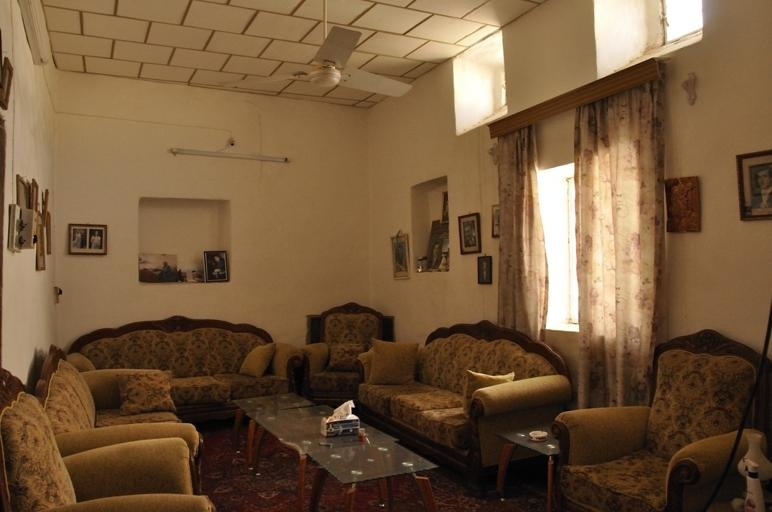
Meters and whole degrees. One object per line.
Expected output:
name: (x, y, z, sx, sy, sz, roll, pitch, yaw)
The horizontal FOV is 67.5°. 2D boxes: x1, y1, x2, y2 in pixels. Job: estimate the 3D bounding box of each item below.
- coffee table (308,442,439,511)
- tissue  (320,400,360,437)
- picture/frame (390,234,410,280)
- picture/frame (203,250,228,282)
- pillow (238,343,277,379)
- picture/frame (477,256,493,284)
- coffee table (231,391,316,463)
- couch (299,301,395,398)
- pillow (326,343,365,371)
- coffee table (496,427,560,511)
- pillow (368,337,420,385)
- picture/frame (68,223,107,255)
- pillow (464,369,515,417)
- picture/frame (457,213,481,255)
coffee table: (-0.150, 1.966, 4.895, 0.895, 0.633, 0.841, 1, -3, -28)
tissue : (-0.430, 1.517, 5.393, 0.367, 0.291, 0.193, 0, -2, -6)
picture/frame: (0.211, 0.005, 8.635, 0.093, 0.855, 0.665, 2, -4, -32)
picture/frame: (-2.508, 0.155, 8.524, 0.367, 0.475, 0.186, 0, -2, -16)
pillow: (-1.755, 1.414, 7.877, 0.431, 0.404, 0.133, -3, -34, 42)
picture/frame: (1.218, 0.167, 7.125, 0.041, 0.387, 0.339, 1, 2, -28)
coffee table: (-1.316, 1.978, 6.292, 0.879, 0.418, 0.652, 1, -2, -36)
couch: (-0.681, 1.356, 8.498, 1.264, 1.531, 1.153, 1, -16, 1)
pillow: (-0.616, 1.431, 8.139, 0.404, 0.366, 0.121, 1, -14, -2)
coffee table: (1.472, 1.970, 5.317, 0.715, 0.542, 0.716, 4, -4, -28)
pillow: (0.089, 1.374, 7.407, 0.517, 0.465, 0.188, 1, -26, 2)
picture/frame: (-4.050, -0.230, 7.755, 0.442, 0.398, 0.048, 0, 1, -30)
pillow: (1.014, 1.367, 5.688, 0.488, 0.426, 0.176, 1, 1, 0)
picture/frame: (1.065, -0.292, 7.353, 0.043, 0.566, 0.512, 3, -7, -25)
